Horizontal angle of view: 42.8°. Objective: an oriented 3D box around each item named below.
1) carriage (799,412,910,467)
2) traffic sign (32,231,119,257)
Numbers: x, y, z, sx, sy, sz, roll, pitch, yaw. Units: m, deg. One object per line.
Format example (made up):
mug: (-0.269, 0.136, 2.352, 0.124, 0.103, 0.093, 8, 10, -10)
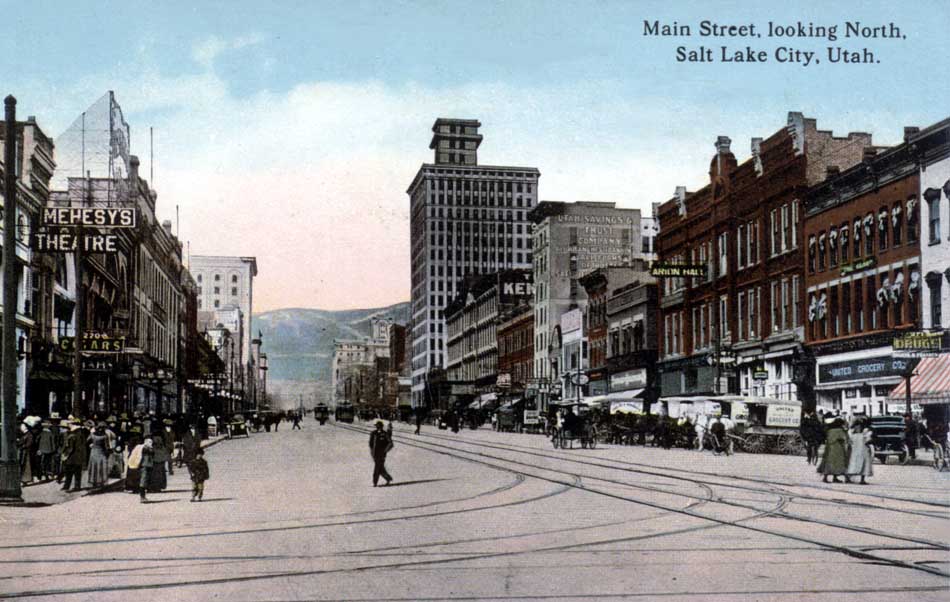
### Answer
carriage: (17.769, 5.922, 52.570, 2.347, 2.043, 4.123, 0, -3, 3)
traffic sign: (-18.793, -2.680, 56.530, 2.169, 0.540, 0.282, 2, 4, -8)
